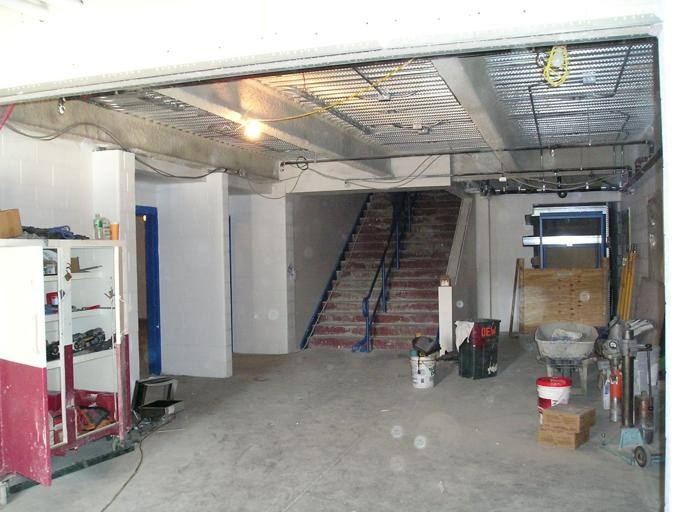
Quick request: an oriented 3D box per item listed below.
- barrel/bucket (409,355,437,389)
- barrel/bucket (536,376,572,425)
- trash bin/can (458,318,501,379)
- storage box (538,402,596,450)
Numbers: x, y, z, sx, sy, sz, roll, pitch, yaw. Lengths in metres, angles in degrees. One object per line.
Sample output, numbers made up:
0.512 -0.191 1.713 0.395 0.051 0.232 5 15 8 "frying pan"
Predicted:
1.233 1.751 8.179 0.510 0.473 0.486 -3 -3 0 "barrel/bucket"
2.543 1.717 6.505 0.532 0.579 0.534 0 -3 0 "barrel/bucket"
2.291 1.498 8.726 0.724 0.903 0.321 -3 4 -28 "trash bin/can"
2.519 1.880 5.987 0.545 0.364 0.415 -4 4 -44 "storage box"
